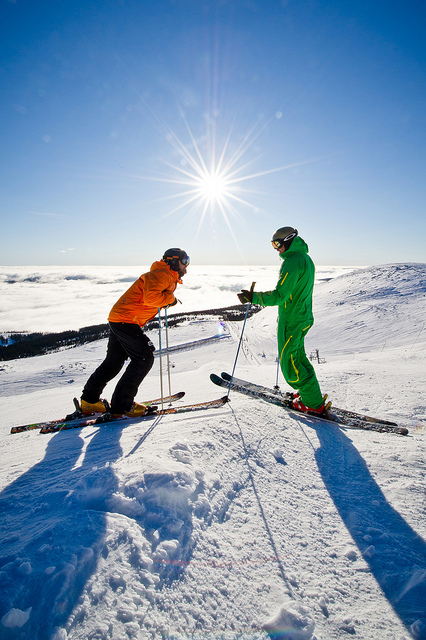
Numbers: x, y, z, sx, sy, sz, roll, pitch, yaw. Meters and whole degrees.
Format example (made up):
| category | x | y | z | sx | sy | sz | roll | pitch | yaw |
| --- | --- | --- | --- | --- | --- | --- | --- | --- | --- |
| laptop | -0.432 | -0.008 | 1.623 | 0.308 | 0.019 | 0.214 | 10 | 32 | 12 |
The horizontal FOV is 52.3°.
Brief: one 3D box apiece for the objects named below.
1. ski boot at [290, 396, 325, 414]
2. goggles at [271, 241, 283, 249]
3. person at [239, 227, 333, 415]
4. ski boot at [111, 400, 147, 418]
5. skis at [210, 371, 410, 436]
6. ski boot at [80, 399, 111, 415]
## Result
| category | x | y | z | sx | sy | sz | roll | pitch | yaw |
| --- | --- | --- | --- | --- | --- | --- | --- | --- | --- |
| ski boot | 1.112 | 1.014 | 5.388 | 0.461 | 0.208 | 0.160 | 4 | 12 | 28 |
| goggles | 0.782 | -0.971 | 5.509 | 0.146 | 0.093 | 0.147 | -6 | -2 | -8 |
| person | 0.904 | 0.013 | 5.373 | 0.768 | 2.236 | 0.871 | -7 | -2 | 14 |
| ski boot | -1.069 | 1.170 | 5.658 | 0.456 | 0.217 | 0.165 | -9 | 15 | -28 |
| skis | 1.251 | 1.080 | 5.541 | 1.973 | 0.173 | 0.263 | 13 | 17 | 40 |
| ski boot | -1.631 | 1.212 | 6.042 | 0.406 | 0.179 | 0.138 | 1 | 10 | -21 |
